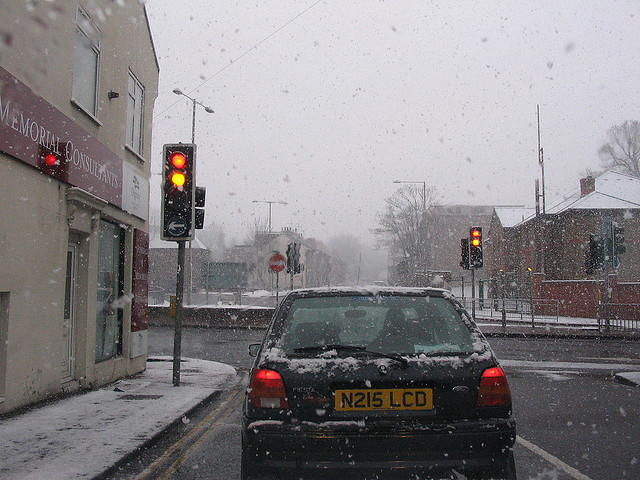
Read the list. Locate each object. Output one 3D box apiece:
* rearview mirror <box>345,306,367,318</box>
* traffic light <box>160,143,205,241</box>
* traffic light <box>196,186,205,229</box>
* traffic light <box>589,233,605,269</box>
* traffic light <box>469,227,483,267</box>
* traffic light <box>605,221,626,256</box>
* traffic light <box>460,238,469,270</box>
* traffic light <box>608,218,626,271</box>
[{"bbox_3d":[0.393,0.802,7.381,0.233,0.090,0.025,-1,-7,3],"label":"rearview mirror"},{"bbox_3d":[-2.408,-0.854,11.796,0.751,1.744,0.589,1,-8,-13],"label":"traffic light"},{"bbox_3d":[-2.176,-0.571,12.181,0.142,0.718,0.301,0,-8,-7],"label":"traffic light"},{"bbox_3d":[9.861,0.374,23.898,0.508,1.320,1.133,-4,-9,23],"label":"traffic light"},{"bbox_3d":[5.296,0.225,22.796,0.381,1.347,0.681,-2,-8,13],"label":"traffic light"},{"bbox_3d":[10.424,-0.115,23.663,0.593,1.317,0.729,-7,-10,42],"label":"traffic light"},{"bbox_3d":[5.077,0.430,23.421,0.255,1.167,0.810,-2,-8,13],"label":"traffic light"},{"bbox_3d":[10.518,0.073,23.801,0.707,0.394,2.089,14,-42,42],"label":"traffic light"}]
